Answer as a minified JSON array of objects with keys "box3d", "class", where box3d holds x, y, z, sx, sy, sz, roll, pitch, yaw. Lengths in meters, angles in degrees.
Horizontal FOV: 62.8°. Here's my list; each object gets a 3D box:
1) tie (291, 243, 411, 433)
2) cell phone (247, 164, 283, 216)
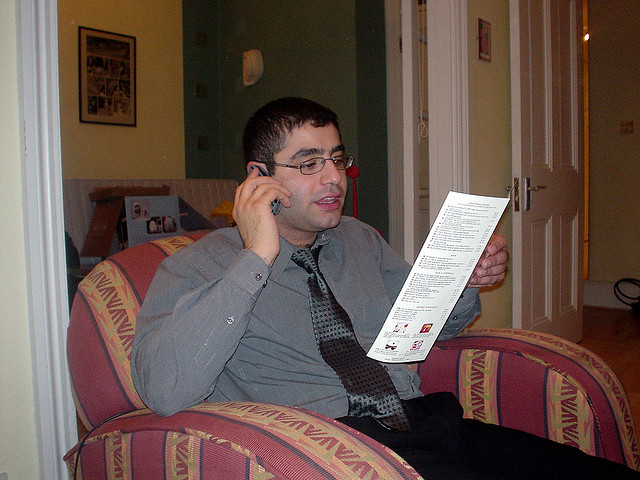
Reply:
[{"box3d":[0.079,0.312,1.379,0.170,0.599,0.027,-19,-12,0],"class":"tie"},{"box3d":[-0.138,-0.133,1.472,0.040,0.140,0.136,-11,48,-36],"class":"cell phone"}]
